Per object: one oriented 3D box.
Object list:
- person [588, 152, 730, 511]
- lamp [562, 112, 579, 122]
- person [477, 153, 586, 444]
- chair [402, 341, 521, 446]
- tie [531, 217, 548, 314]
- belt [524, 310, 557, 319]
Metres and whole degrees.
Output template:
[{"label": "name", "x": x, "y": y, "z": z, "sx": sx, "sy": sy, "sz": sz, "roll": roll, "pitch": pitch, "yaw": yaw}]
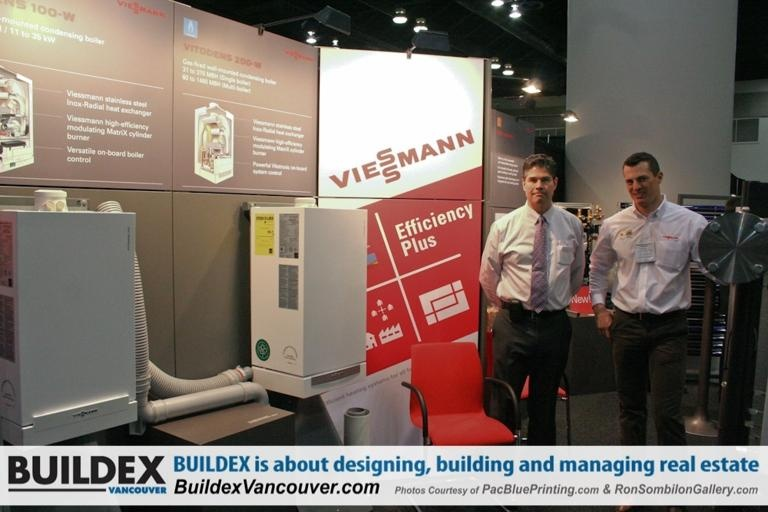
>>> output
[{"label": "person", "x": 1.738, "y": 0.294, "z": 3.706, "sx": 0.737, "sy": 1.682, "sz": 0.493, "roll": -3, "pitch": -2, "yaw": 30}, {"label": "lamp", "x": 2.224, "y": -1.683, "z": 6.700, "sx": 0.130, "sy": 0.031, "sz": 0.122, "roll": 14, "pitch": -20, "yaw": -39}, {"label": "person", "x": 1.039, "y": 0.308, "z": 3.905, "sx": 0.724, "sy": 1.985, "sz": 0.360, "roll": -3, "pitch": -2, "yaw": 14}, {"label": "chair", "x": 0.454, "y": 0.938, "z": 3.866, "sx": 0.687, "sy": 0.902, "sz": 0.660, "roll": 0, "pitch": -5, "yaw": -15}, {"label": "tie", "x": 1.054, "y": 0.049, "z": 3.788, "sx": 0.103, "sy": 0.644, "sz": 0.171, "roll": -4, "pitch": -2, "yaw": 38}, {"label": "belt", "x": 1.064, "y": 0.394, "z": 3.756, "sx": 0.202, "sy": 0.070, "sz": 0.037, "roll": -2, "pitch": -1, "yaw": -4}]
